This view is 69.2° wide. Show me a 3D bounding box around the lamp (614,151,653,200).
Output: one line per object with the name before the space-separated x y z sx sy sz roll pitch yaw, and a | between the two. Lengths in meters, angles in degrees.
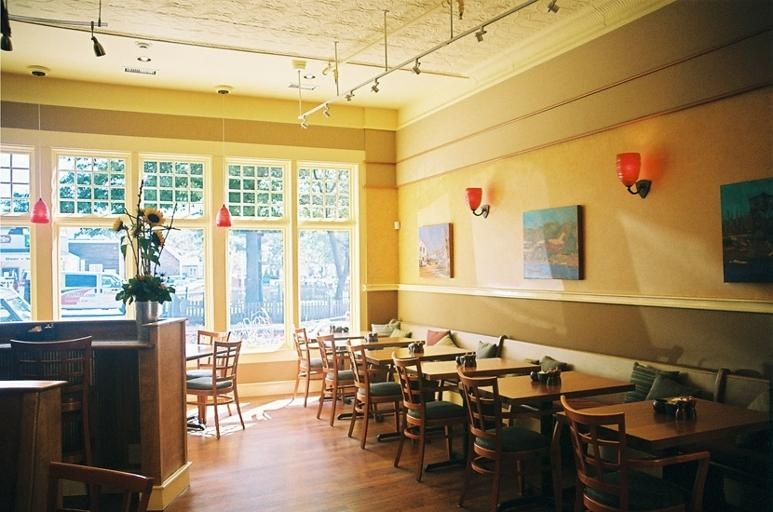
lamp | 2.611 -0.851 5.913 0.216 0.489 0.290 -5 6 -39

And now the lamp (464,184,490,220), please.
lamp | 1.270 -0.742 7.829 0.205 0.450 0.320 -4 6 -28

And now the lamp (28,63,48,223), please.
lamp | -4.914 -1.541 7.898 0.290 2.187 0.766 -4 6 -30

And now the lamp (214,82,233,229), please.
lamp | -2.508 -1.517 8.643 0.290 2.235 0.949 -3 5 -15

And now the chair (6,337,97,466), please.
chair | -3.245 1.436 5.503 0.724 1.281 0.619 -2 5 -12

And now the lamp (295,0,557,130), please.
lamp | 0.278 -2.511 7.368 1.454 0.862 4.759 -4 5 -33

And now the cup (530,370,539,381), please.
cup | 1.533 1.246 5.780 0.093 0.070 0.094 1 2 0

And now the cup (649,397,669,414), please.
cup | 2.361 1.304 4.847 0.117 0.073 0.215 -3 -10 20

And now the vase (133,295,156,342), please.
vase | -2.438 0.678 5.797 0.305 0.425 0.285 -2 -2 -3

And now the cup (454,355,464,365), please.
cup | 0.826 1.199 6.394 0.073 0.093 0.092 -5 -18 16

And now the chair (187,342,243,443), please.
chair | -2.445 1.789 7.552 0.910 1.045 0.932 2 -9 -42
